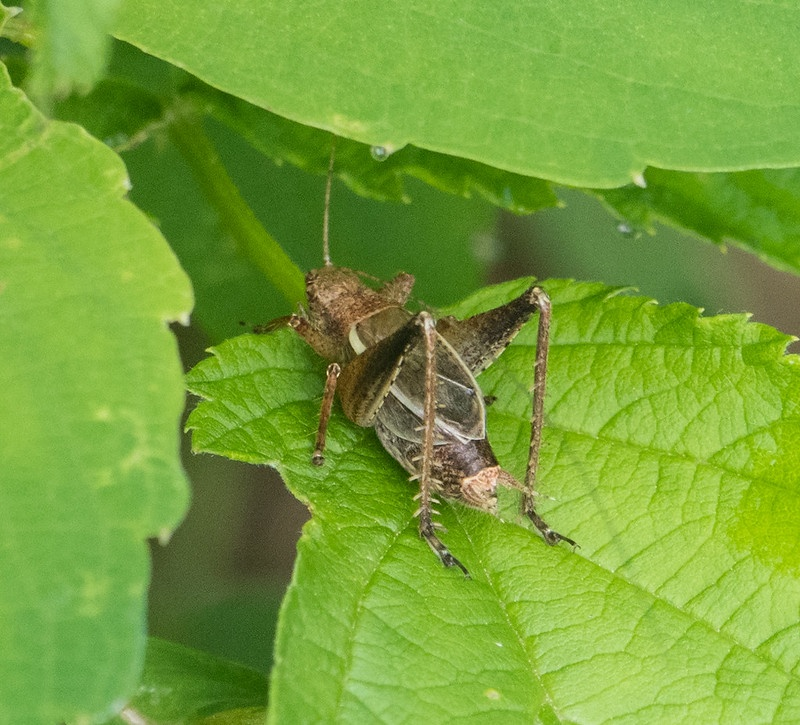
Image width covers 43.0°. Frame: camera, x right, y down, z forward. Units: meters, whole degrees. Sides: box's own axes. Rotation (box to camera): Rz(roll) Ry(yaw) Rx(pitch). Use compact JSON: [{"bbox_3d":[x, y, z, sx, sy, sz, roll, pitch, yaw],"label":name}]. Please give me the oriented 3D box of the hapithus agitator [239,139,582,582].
[{"bbox_3d":[-0.010,0.008,3.268,0.724,0.565,1.332,-15,56,-29],"label":"hapithus agitator"}]
